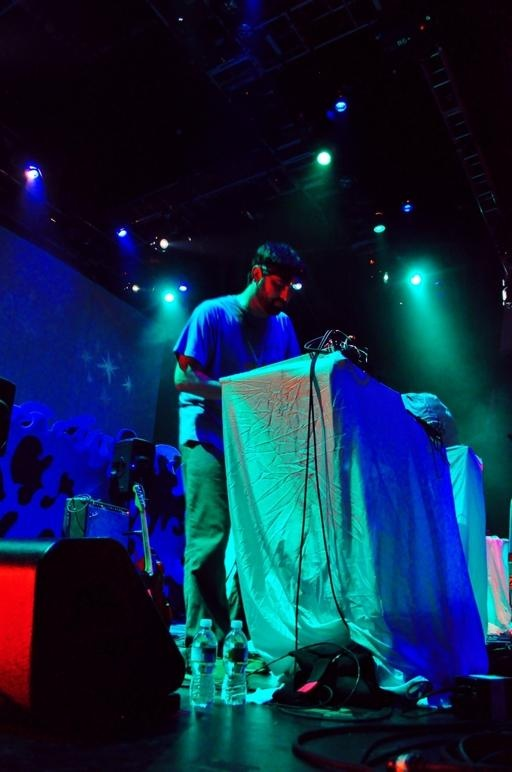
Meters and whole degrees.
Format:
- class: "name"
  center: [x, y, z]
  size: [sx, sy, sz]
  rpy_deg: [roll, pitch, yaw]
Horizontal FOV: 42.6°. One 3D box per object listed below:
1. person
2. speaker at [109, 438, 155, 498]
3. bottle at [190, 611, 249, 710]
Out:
- class: "person"
  center: [-0.112, 0.117, 2.596]
  size: [0.497, 1.707, 1.112]
  rpy_deg: [5, -4, 4]
- class: "speaker"
  center: [-0.899, 0.593, 4.722]
  size: [0.305, 0.482, 0.318]
  rpy_deg: [-15, -22, 34]
- class: "bottle"
  center: [-0.109, 0.791, 1.872]
  size: [0.221, 0.300, 0.100]
  rpy_deg: [9, -36, -11]
